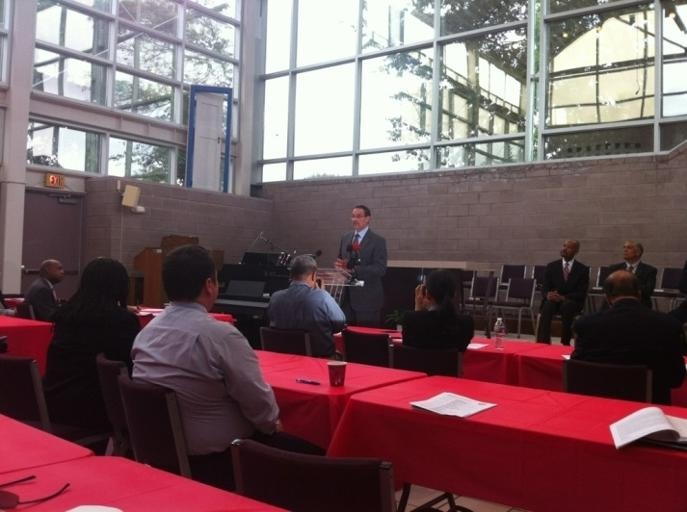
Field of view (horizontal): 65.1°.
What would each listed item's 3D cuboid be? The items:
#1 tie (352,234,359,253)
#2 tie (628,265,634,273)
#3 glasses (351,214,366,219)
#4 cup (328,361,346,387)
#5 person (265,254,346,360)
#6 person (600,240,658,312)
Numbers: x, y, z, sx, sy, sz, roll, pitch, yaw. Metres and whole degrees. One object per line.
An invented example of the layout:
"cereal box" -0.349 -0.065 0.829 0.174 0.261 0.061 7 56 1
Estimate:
"tie" 0.101 -0.119 4.925 0.116 0.126 0.036 -11 -27 35
"tie" 2.881 0.125 5.383 0.052 0.056 0.097 3 -12 25
"glasses" 0.145 -0.371 4.959 0.067 0.034 0.082 -5 -13 34
"cup" -0.022 0.513 2.352 0.088 0.100 0.091 -1 -5 0
"person" -0.223 0.552 3.606 0.426 1.075 0.364 3 21 13
"person" 3.230 0.353 6.041 0.495 1.044 0.492 0 -4 37
